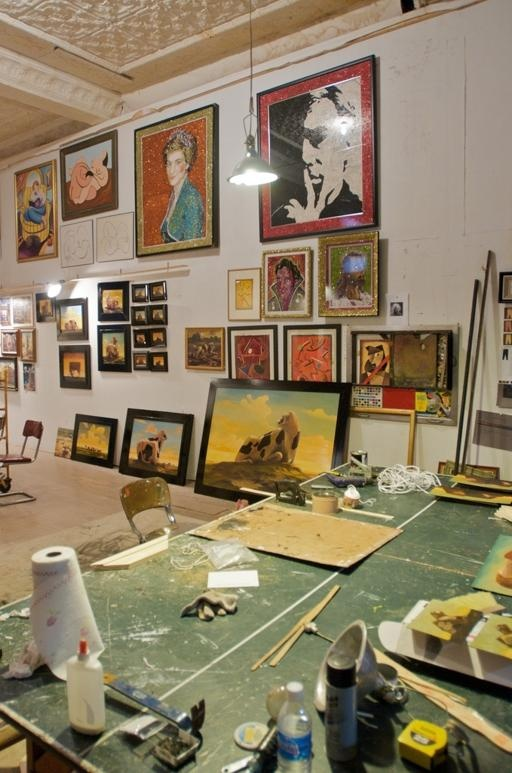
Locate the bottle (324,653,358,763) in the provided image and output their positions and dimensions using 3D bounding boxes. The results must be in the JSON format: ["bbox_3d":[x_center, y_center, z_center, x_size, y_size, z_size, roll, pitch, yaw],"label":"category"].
[{"bbox_3d":[0.161,0.603,1.005,0.061,0.191,0.065,-2,3,0],"label":"bottle"}]

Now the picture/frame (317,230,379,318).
[{"bbox_3d":[0.792,-0.944,4.420,0.678,0.837,0.063,5,8,41],"label":"picture/frame"}]

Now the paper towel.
[{"bbox_3d":[-0.469,0.536,1.313,0.163,0.261,0.143,0,13,4],"label":"paper towel"}]

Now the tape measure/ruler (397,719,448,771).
[{"bbox_3d":[0.318,0.663,1.001,0.060,0.040,0.059,6,13,42],"label":"tape measure/ruler"}]

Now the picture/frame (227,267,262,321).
[{"bbox_3d":[-0.089,-0.912,5.222,0.518,0.672,0.045,1,2,37],"label":"picture/frame"}]

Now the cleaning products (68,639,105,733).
[{"bbox_3d":[-0.337,0.609,1.063,0.070,0.186,0.044,-2,3,-5],"label":"cleaning products"}]

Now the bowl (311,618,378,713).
[{"bbox_3d":[0.214,0.577,1.160,0.063,0.182,0.171,21,17,-4],"label":"bowl"}]

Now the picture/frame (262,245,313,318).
[{"bbox_3d":[0.314,-0.954,4.840,0.607,0.727,0.056,8,12,43],"label":"picture/frame"}]
